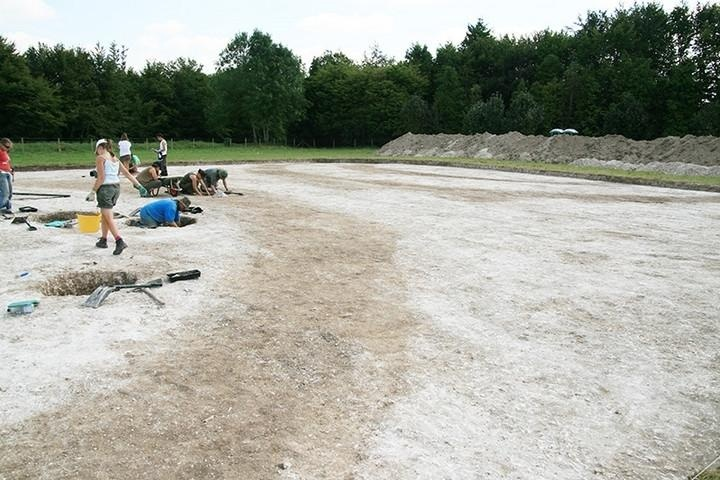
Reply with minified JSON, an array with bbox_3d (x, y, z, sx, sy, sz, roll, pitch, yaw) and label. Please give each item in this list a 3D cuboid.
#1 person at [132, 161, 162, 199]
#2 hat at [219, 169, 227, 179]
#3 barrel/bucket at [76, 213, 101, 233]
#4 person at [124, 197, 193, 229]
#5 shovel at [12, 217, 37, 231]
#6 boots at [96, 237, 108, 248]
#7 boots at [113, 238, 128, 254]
[{"bbox_3d":[-6.383,-1.876,16.062,0.765,1.036,0.874,4,14,-25],"label":"person"},{"bbox_3d":[-4.351,-2.129,16.873,0.204,0.269,0.276,5,-28,15],"label":"hat"},{"bbox_3d":[-5.802,-0.364,11.464,0.453,0.350,0.474,2,3,0],"label":"barrel/bucket"},{"bbox_3d":[-4.538,-0.584,12.405,1.204,0.508,0.935,-3,11,-32],"label":"person"},{"bbox_3d":[-7.394,-0.364,11.722,0.681,0.179,0.375,16,3,19],"label":"shovel"},{"bbox_3d":[-5.025,0.062,10.340,0.119,0.153,0.361,-1,13,-29],"label":"boots"},{"bbox_3d":[-4.542,0.119,10.039,0.240,0.282,0.326,-4,15,-23],"label":"boots"}]
